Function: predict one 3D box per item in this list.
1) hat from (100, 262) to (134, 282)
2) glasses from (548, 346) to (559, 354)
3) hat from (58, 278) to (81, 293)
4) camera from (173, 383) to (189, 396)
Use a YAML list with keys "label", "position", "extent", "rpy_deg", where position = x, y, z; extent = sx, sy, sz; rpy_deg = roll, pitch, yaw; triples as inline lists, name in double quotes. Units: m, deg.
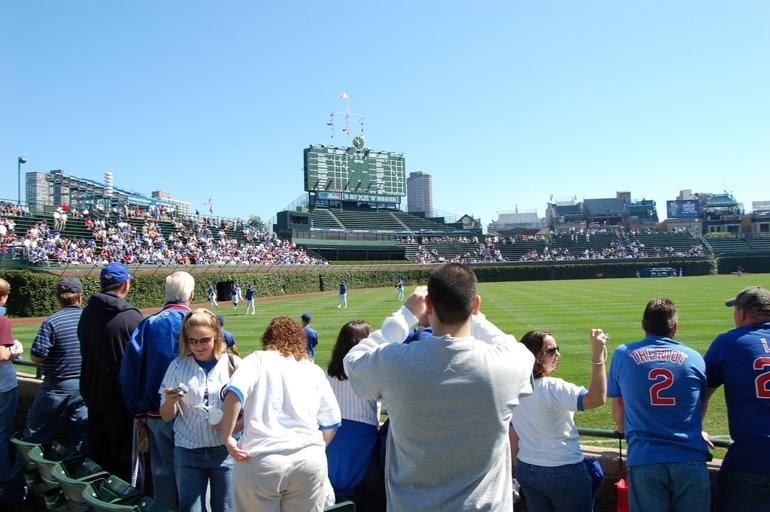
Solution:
- label: "hat"
  position: [-3.353, 0.205, 9.650]
  extent: [0.299, 0.261, 0.554]
  rpy_deg: [-2, -2, -16]
- label: "glasses"
  position: [1.852, 1.034, 8.495]
  extent: [0.078, 0.082, 0.231]
  rpy_deg: [-4, -2, 29]
- label: "hat"
  position: [-4.118, 0.387, 10.131]
  extent: [0.277, 0.205, 0.305]
  rpy_deg: [-1, -2, -28]
- label: "camera"
  position: [-2.217, 1.458, 8.429]
  extent: [0.161, 0.129, 0.165]
  rpy_deg: [-2, -2, -6]
